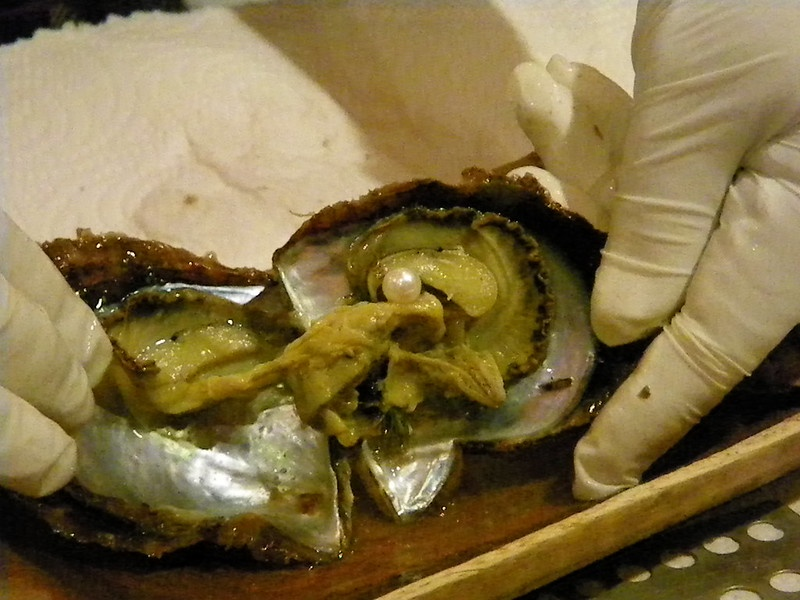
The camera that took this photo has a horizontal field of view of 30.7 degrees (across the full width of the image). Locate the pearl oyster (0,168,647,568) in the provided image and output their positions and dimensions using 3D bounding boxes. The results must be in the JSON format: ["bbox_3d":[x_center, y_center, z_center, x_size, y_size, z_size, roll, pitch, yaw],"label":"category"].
[{"bbox_3d":[-0.093,0.086,1.615,0.629,0.302,0.543,9,52,8],"label":"pearl oyster"}]
